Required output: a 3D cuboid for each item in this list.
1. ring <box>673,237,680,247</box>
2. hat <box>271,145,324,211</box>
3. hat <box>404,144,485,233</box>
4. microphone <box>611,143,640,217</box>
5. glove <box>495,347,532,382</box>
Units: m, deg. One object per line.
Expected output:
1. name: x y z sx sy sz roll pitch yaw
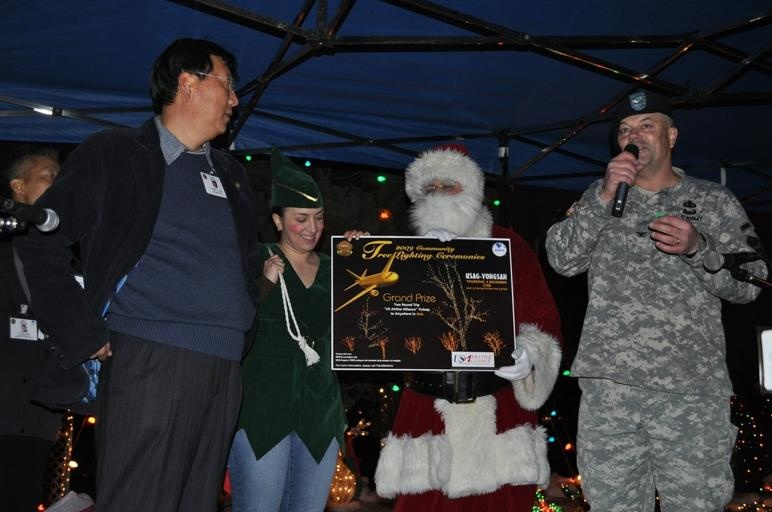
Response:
1. ring: 1.799 -0.096 3.810 0.063 0.054 0.018 4 2 5
2. hat: -0.720 -0.570 4.666 0.448 0.318 0.295 15 21 0
3. hat: 0.476 -0.517 4.590 0.590 0.603 0.642 7 14 23
4. microphone: 1.584 -0.532 4.055 0.154 0.684 0.118 15 -44 11
5. glove: 0.832 0.717 4.001 0.185 0.229 0.095 -11 -44 48
